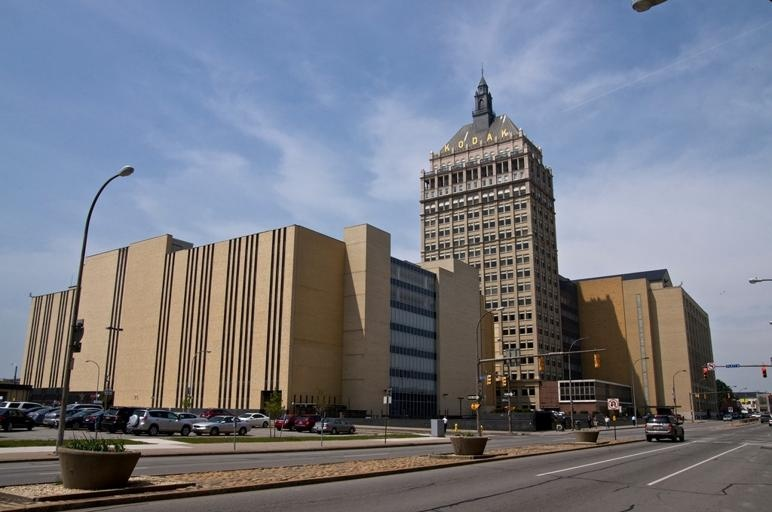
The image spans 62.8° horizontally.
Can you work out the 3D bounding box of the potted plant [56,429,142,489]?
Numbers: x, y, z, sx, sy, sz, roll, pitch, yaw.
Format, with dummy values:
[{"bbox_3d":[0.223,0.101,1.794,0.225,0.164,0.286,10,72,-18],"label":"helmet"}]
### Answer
[{"bbox_3d":[-12.066,8.526,26.375,2.577,1.568,2.380,12,-12,-36],"label":"potted plant"}]
